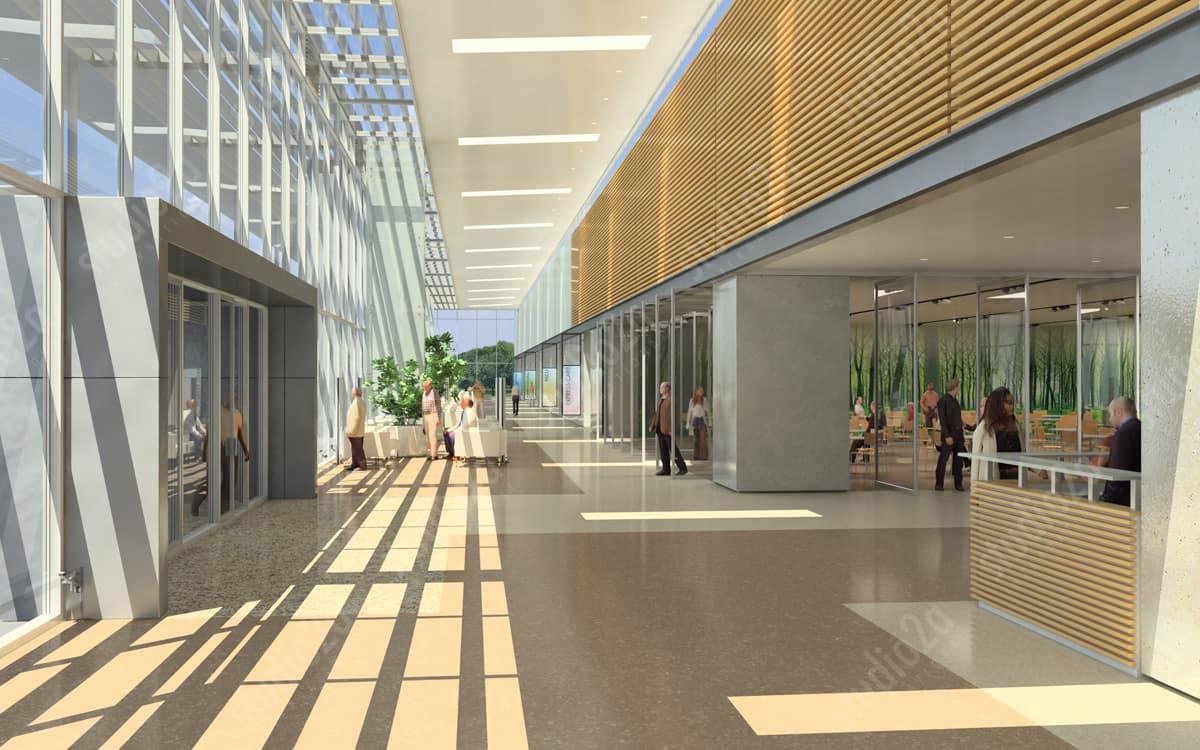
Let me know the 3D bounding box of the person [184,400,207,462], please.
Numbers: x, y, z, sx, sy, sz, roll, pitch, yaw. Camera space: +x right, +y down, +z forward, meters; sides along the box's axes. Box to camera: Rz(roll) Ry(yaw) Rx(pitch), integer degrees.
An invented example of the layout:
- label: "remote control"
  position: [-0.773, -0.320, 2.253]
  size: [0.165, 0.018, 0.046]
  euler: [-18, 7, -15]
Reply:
- label: "person"
  position: [-5.667, 0.717, 10.486]
  size: [0.287, 0.763, 0.195]
  euler: [3, 17, 7]

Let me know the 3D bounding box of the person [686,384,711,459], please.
- label: "person"
  position: [2.121, 1.045, 16.329]
  size: [0.282, 1.600, 0.681]
  euler: [-2, 4, -21]

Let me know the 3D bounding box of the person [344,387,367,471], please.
- label: "person"
  position: [-5.542, 1.214, 17.042]
  size: [0.361, 1.902, 1.442]
  euler: [-2, 4, -19]

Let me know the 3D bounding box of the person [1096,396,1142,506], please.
- label: "person"
  position: [5.324, 0.772, 7.700]
  size: [0.293, 0.928, 2.207]
  euler: [3, 5, 34]
